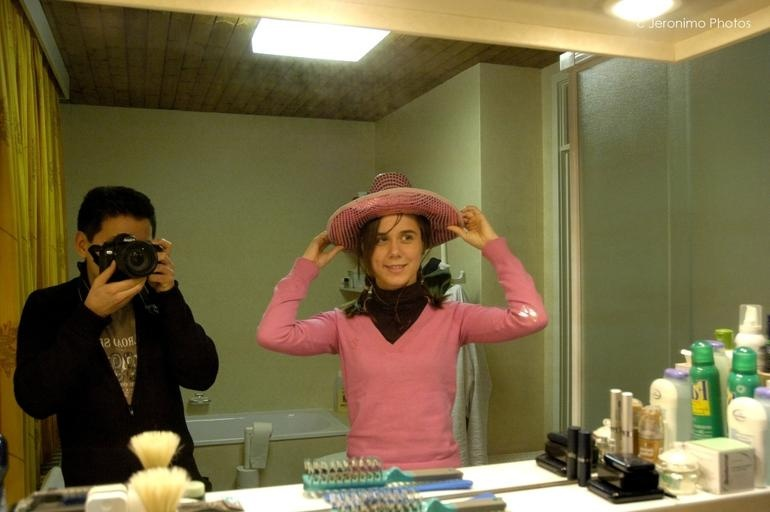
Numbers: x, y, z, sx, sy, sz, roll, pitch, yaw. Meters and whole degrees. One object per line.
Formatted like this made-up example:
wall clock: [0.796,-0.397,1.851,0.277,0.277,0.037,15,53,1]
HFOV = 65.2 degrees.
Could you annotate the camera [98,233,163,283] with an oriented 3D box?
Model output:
camera: [-0.524,0.018,1.236,0.134,0.110,0.089,-1,-7,2]

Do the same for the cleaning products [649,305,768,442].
cleaning products: [0.740,0.208,1.375,0.112,0.436,0.204,3,-7,-22]

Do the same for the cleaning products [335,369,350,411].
cleaning products: [-0.097,0.291,1.304,0.025,0.065,0.028,-5,-2,-5]

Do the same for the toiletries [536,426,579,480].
toiletries: [0.380,0.422,1.314,0.068,0.099,0.091,3,4,-18]

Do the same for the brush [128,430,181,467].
brush: [-0.410,0.329,1.075,0.073,0.056,0.074,-8,-8,36]
